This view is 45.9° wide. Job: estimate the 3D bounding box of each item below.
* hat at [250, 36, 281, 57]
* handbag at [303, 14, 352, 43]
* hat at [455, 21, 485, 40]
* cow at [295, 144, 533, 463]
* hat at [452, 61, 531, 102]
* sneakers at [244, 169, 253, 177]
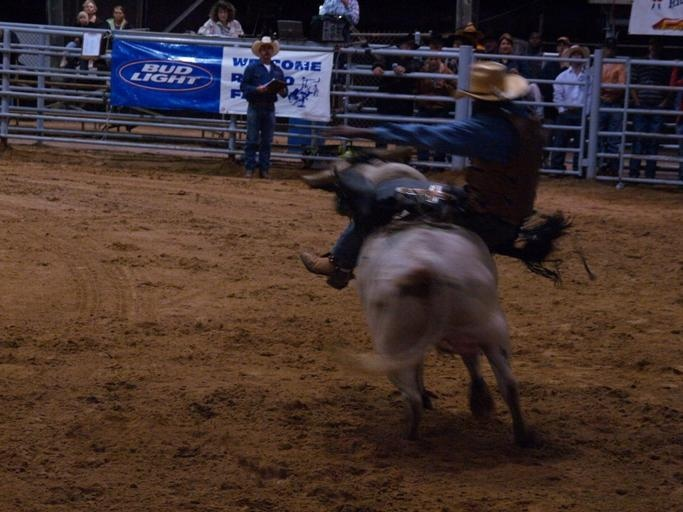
[{"bbox_3d":[-1.117,-3.108,11.822,0.385,0.262,0.364,2,11,-6],"label":"hat"},{"bbox_3d":[-0.205,-3.792,13.461,1.017,0.419,0.533,0,10,-5],"label":"handbag"},{"bbox_3d":[2.186,-3.901,13.851,0.646,0.171,0.569,1,-1,4],"label":"hat"},{"bbox_3d":[0.645,0.547,5.627,1.267,1.581,0.568,4,14,-3],"label":"cow"},{"bbox_3d":[1.021,-1.242,5.734,0.509,0.133,0.401,13,31,32],"label":"hat"},{"bbox_3d":[-1.445,-1.284,12.391,0.098,0.117,0.191,-4,13,-34],"label":"sneakers"}]
